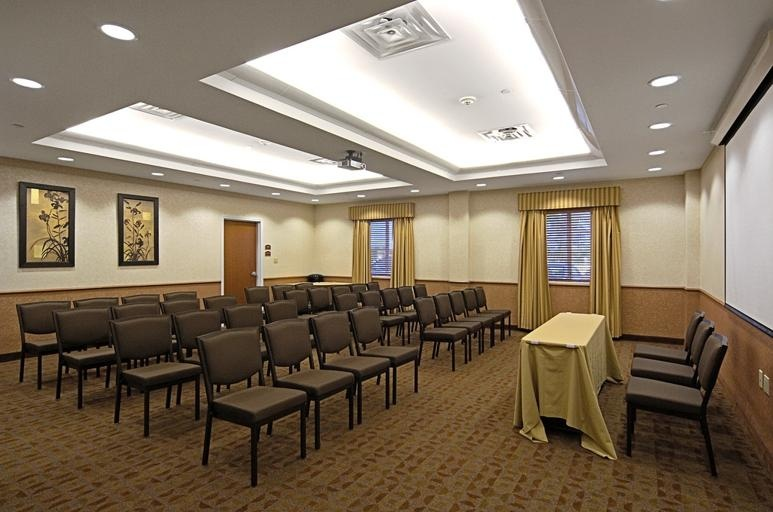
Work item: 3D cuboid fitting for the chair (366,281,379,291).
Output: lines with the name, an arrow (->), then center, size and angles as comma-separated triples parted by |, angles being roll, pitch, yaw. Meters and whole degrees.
chair -> -0.307, 0.663, 9.759 | 0.207, 0.236, 0.193 | -5, -7, 42

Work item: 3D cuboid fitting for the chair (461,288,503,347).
chair -> 2.139, 1.149, 9.239 | 0.686, 0.953, 0.735 | -5, 0, 20

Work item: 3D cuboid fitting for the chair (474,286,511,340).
chair -> 2.155, 1.179, 9.355 | 0.646, 0.974, 0.599 | -1, 3, 32

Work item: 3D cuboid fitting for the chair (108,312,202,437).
chair -> -2.832, 1.396, 5.651 | 0.940, 1.190, 0.886 | -1, 4, -45

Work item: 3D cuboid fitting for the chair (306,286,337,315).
chair -> -1.249, 0.881, 8.947 | 0.503, 0.788, 0.530 | -7, -9, 43

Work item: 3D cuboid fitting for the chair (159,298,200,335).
chair -> -2.841, 0.861, 6.275 | 0.436, 0.667, 0.444 | -9, -13, 30

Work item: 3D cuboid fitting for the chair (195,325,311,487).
chair -> -1.402, 1.501, 4.869 | 1.000, 1.254, 0.947 | 2, 3, 15

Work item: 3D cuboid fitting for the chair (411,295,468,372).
chair -> 0.913, 1.268, 7.645 | 0.809, 0.987, 0.701 | 2, 2, 28

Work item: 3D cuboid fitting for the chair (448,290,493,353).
chair -> 1.447, 1.227, 8.521 | 0.612, 0.918, 0.658 | -14, 23, -41

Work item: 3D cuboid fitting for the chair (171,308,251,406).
chair -> -2.386, 1.323, 5.820 | 0.851, 1.138, 0.772 | -12, 6, 6

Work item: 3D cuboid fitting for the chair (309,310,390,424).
chair -> -0.455, 1.360, 5.814 | 0.813, 1.177, 0.743 | 4, 4, 32

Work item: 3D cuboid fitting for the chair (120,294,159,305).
chair -> -4.052, 0.768, 7.584 | 0.486, 0.232, 0.320 | 3, -8, -21

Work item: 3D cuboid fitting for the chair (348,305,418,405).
chair -> -0.047, 1.363, 6.249 | 0.796, 1.141, 0.739 | 9, 10, 33

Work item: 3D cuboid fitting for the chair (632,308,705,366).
chair -> 3.842, 1.269, 6.278 | 0.794, 0.961, 0.617 | 2, 2, 35

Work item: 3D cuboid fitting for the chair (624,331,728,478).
chair -> 3.134, 1.506, 5.024 | 0.976, 1.264, 0.960 | 5, 6, 39

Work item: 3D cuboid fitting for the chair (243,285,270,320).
chair -> -2.143, 0.785, 7.575 | 0.376, 0.603, 0.393 | 7, -13, -42

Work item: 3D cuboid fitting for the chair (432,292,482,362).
chair -> 1.220, 1.223, 7.922 | 0.827, 0.948, 0.817 | -4, 12, -15

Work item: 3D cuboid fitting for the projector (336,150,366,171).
projector -> -0.613, -1.560, 7.598 | 0.322, 0.214, 0.314 | -2, -4, 30

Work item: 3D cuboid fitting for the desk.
desk -> 2.108, 1.445, 5.414 | 1.055, 0.720, 2.049 | -3, -1, 24

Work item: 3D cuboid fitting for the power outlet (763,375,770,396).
power outlet -> 4.017, 1.377, 4.833 | 0.025, 0.224, 0.240 | -1, -6, 26
